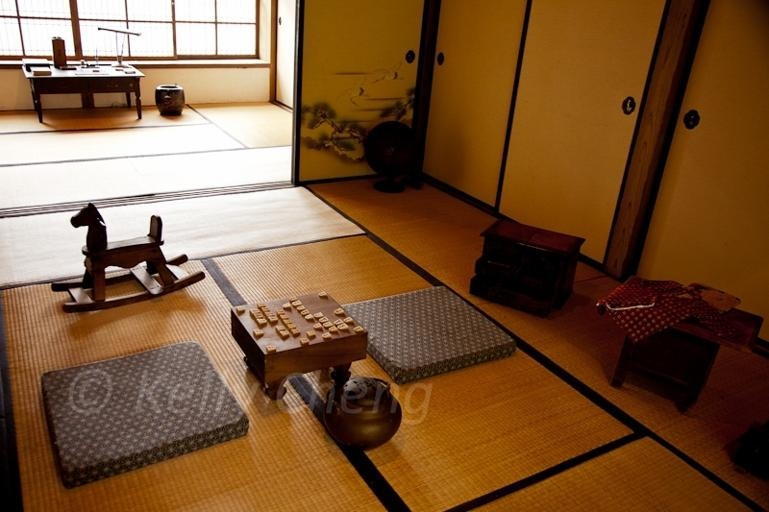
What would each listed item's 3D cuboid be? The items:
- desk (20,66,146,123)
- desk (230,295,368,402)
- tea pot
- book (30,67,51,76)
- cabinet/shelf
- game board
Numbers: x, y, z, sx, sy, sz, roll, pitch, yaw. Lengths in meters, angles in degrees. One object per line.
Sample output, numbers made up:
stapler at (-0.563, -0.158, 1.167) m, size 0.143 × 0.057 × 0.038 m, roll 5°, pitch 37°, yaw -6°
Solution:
desk at (-4.124, -2.355, 7.115) m, size 1.312 × 0.649 × 1.012 m, roll -11°, pitch 31°, yaw -28°
desk at (-0.451, 0.401, 2.855) m, size 0.603 × 0.499 × 0.784 m, roll -8°, pitch 34°, yaw -30°
tea pot at (-0.120, 0.765, 2.616) m, size 0.425 × 0.329 × 0.429 m, roll 7°, pitch 19°, yaw -2°
book at (-4.430, -2.397, 6.525) m, size 0.222 × 0.063 × 0.302 m, roll -14°, pitch 32°, yaw -28°
cabinet/shelf at (1.012, 0.076, 3.645) m, size 0.689 × 0.512 × 0.435 m, roll 13°, pitch 29°, yaw 20°
game board at (-0.412, 0.446, 2.900) m, size 0.586 × 0.435 × 0.739 m, roll -11°, pitch 40°, yaw -37°
